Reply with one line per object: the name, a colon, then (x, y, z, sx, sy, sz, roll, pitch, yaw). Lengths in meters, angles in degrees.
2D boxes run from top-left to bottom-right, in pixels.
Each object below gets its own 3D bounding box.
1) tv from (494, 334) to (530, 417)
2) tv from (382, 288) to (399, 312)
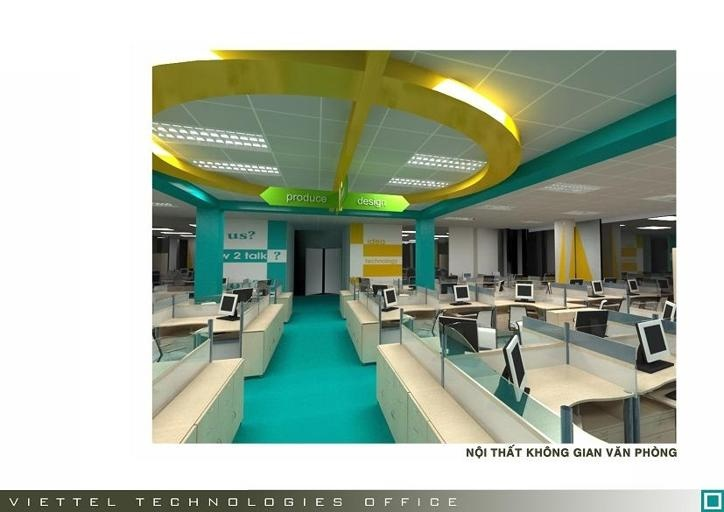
tv: (1.118, 0.906, 3.168, 0.293, 0.420, 0.520, -4, -3, 13)
tv: (0.414, 0.682, 6.494, 0.198, 0.294, 0.350, -6, -7, 34)
